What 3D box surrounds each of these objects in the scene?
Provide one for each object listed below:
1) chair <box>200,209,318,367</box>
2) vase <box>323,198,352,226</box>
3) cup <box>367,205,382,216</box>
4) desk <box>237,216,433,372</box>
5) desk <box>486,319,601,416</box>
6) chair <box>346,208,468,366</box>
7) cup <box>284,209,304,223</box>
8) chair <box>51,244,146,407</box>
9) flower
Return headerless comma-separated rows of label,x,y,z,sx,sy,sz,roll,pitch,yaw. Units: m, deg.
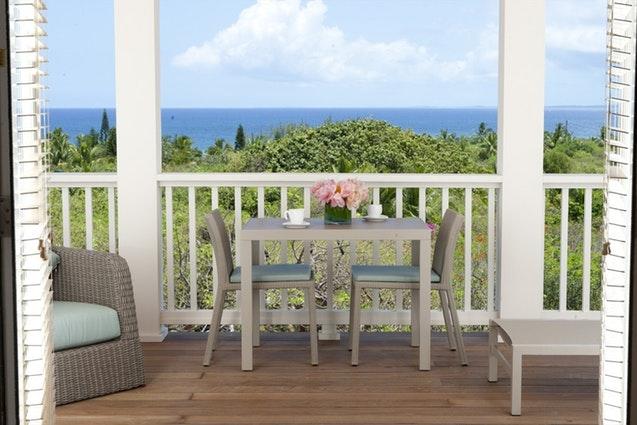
chair,-0.344,0.429,3.716,0.699,0.804,0.521,0,6,-4
vase,0.113,-0.004,3.643,0.144,0.147,0.139,1,-8,-6
cup,0.347,-0.013,3.790,0.079,0.062,0.072,-1,6,17
desk,0.081,0.637,3.825,1.490,1.021,0.805,0,-1,0
desk,1.176,0.775,3.166,0.554,0.371,0.453,2,11,9
chair,0.523,0.441,3.743,0.756,0.849,0.582,0,1,10
cup,-0.141,0.019,3.574,0.098,0.072,0.074,0,6,-2
chair,-1.153,0.587,3.203,0.449,0.734,0.517,-4,12,-19
flower,0.135,-0.064,3.630,0.284,0.203,0.276,0,-3,-18
